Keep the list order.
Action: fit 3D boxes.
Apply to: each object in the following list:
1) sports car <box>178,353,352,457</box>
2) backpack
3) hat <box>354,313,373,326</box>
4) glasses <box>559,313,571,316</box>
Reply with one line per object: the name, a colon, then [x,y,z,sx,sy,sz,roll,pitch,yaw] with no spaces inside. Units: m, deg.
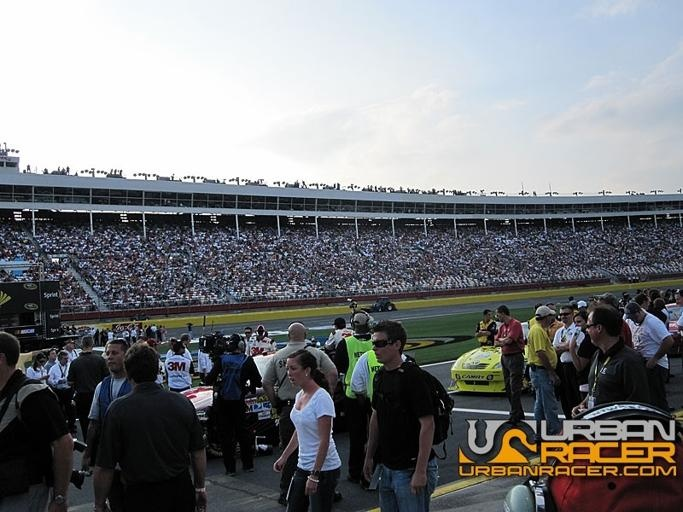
sports car: [-1.235,2.572,9.189,2.929,0.880,1.455,7,-14,-43]
backpack: [0.733,1.230,4.330,0.374,0.505,0.524,-3,-1,9]
hat: [0.304,0.930,7.616,0.210,0.217,0.268,2,11,22]
glasses: [3.794,0.984,8.813,0.157,0.060,0.183,-3,-1,24]
